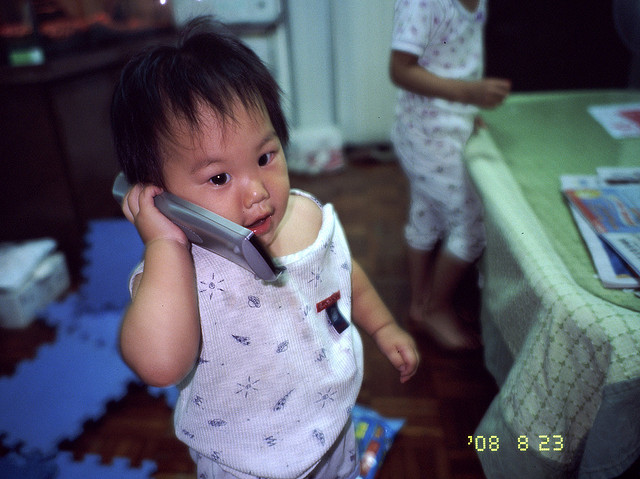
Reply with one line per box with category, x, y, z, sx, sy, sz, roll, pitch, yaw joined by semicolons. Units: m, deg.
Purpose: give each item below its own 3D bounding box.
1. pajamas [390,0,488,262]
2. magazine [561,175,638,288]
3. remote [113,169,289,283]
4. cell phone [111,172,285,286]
pajamas;0.178;-0.168;0.793;0.114;0.428;0.135;-1;35;11
magazine;0.410;-0.017;0.799;0.055;0.109;0.149;-9;32;-5
remote;-0.215;-0.031;0.857;0.299;0.113;0.049;34;35;10
cell phone;-0.175;-0.019;0.842;0.324;0.143;0.036;22;71;39
